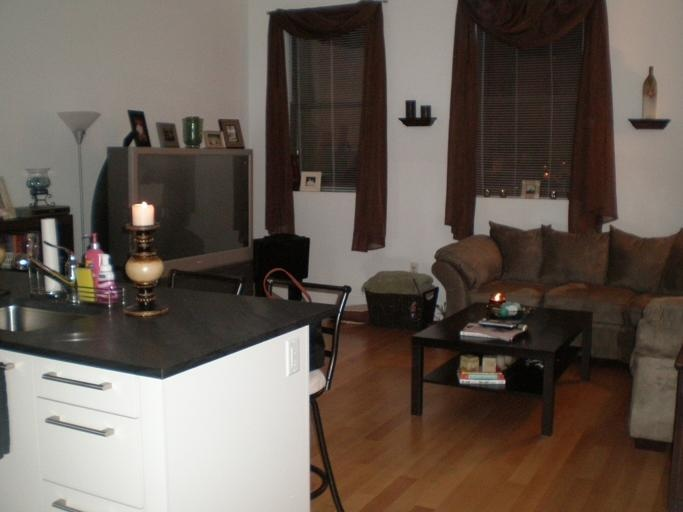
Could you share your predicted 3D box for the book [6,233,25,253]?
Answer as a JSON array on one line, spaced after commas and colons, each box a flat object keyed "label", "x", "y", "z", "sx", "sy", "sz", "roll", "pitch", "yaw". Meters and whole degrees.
[{"label": "book", "x": -2.279, "y": -0.088, "z": 4.045, "sx": 0.084, "sy": 0.144, "sz": 0.148, "roll": -3, "pitch": 6, "yaw": -44}]

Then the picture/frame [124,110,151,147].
[{"label": "picture/frame", "x": -1.716, "y": -1.049, "z": 4.807, "sx": 0.197, "sy": 0.306, "sz": 0.463, "roll": -5, "pitch": 11, "yaw": -20}]

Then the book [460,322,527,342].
[{"label": "book", "x": 0.984, "y": 0.481, "z": 3.791, "sx": 0.427, "sy": 0.052, "sz": 0.328, "roll": 2, "pitch": 10, "yaw": 15}]

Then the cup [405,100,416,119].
[{"label": "cup", "x": 0.697, "y": -1.498, "z": 5.971, "sx": 0.104, "sy": 0.202, "sz": 0.206, "roll": 0, "pitch": 10, "yaw": 5}]

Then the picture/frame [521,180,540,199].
[{"label": "picture/frame", "x": 1.855, "y": -0.650, "z": 5.720, "sx": 0.182, "sy": 0.194, "sz": 0.014, "roll": 1, "pitch": 1, "yaw": 15}]

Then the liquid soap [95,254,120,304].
[{"label": "liquid soap", "x": -1.020, "y": 0.088, "z": 2.503, "sx": 0.094, "sy": 0.200, "sz": 0.216, "roll": -5, "pitch": 11, "yaw": -23}]

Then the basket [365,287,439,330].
[{"label": "basket", "x": 0.547, "y": 0.506, "z": 5.729, "sx": 0.545, "sy": 0.291, "sz": 0.444, "roll": 1, "pitch": 3, "yaw": 25}]

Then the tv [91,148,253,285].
[{"label": "tv", "x": -1.340, "y": -0.335, "z": 4.453, "sx": 0.367, "sy": 0.994, "sz": 1.187, "roll": 4, "pitch": 6, "yaw": 32}]

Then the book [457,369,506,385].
[{"label": "book", "x": 0.887, "y": 0.772, "z": 3.706, "sx": 0.297, "sy": 0.069, "sz": 0.134, "roll": 1, "pitch": 10, "yaw": 11}]

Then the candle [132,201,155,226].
[{"label": "candle", "x": -0.804, "y": -0.168, "z": 2.340, "sx": 0.082, "sy": 0.090, "sz": 0.168, "roll": -5, "pitch": 11, "yaw": -20}]

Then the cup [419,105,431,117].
[{"label": "cup", "x": 0.848, "y": -1.469, "z": 5.947, "sx": 0.109, "sy": 0.125, "sz": 0.131, "roll": 0, "pitch": 10, "yaw": 6}]

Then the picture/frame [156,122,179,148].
[{"label": "picture/frame", "x": -1.497, "y": -1.028, "z": 4.978, "sx": 0.161, "sy": 0.210, "sz": 0.328, "roll": -4, "pitch": 10, "yaw": -15}]

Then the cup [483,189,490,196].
[{"label": "cup", "x": 1.456, "y": -0.639, "z": 5.876, "sx": 0.069, "sy": 0.071, "sz": 0.072, "roll": 0, "pitch": 8, "yaw": 0}]

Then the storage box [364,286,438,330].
[{"label": "storage box", "x": 0.549, "y": 0.496, "z": 5.738, "sx": 0.545, "sy": 0.292, "sz": 0.444, "roll": 1, "pitch": 2, "yaw": 25}]

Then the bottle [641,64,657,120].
[{"label": "bottle", "x": 2.768, "y": -1.462, "z": 5.221, "sx": 0.193, "sy": 0.471, "sz": 0.108, "roll": -10, "pitch": 14, "yaw": -40}]

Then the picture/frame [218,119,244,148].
[{"label": "picture/frame", "x": -1.084, "y": -1.183, "z": 5.651, "sx": 0.194, "sy": 0.282, "sz": 0.285, "roll": 3, "pitch": 11, "yaw": 19}]

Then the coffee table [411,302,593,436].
[{"label": "coffee table", "x": 0.994, "y": 0.567, "z": 3.814, "sx": 0.773, "sy": 0.467, "sz": 1.125, "roll": 2, "pitch": 6, "yaw": 26}]

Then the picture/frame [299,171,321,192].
[{"label": "picture/frame", "x": -0.362, "y": -0.832, "z": 6.577, "sx": 0.230, "sy": 0.227, "sz": 0.023, "roll": 2, "pitch": 6, "yaw": 19}]

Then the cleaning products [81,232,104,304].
[{"label": "cleaning products", "x": -1.087, "y": 0.053, "z": 2.541, "sx": 0.081, "sy": 0.277, "sz": 0.096, "roll": 4, "pitch": 8, "yaw": 26}]

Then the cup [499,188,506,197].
[{"label": "cup", "x": 1.598, "y": -0.637, "z": 5.822, "sx": 0.073, "sy": 0.135, "sz": 0.074, "roll": -1, "pitch": 4, "yaw": 0}]
